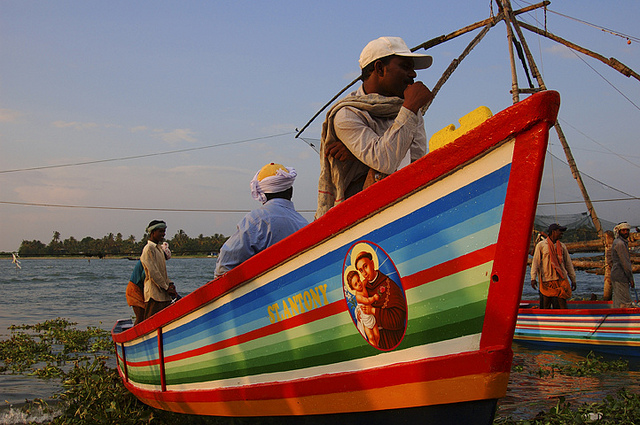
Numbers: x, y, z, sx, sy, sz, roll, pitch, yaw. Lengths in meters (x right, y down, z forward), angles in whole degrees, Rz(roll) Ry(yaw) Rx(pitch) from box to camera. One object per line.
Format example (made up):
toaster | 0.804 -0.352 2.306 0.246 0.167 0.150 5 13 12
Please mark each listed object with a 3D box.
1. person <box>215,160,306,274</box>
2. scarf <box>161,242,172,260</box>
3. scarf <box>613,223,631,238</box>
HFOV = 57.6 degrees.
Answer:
person | -0.556 0.222 6.119 0.816 1.330 0.724 17 -24 -37
scarf | -3.222 0.815 12.208 0.227 0.309 0.125 8 5 13
scarf | 5.950 0.376 11.438 0.312 0.314 0.244 8 -4 19
